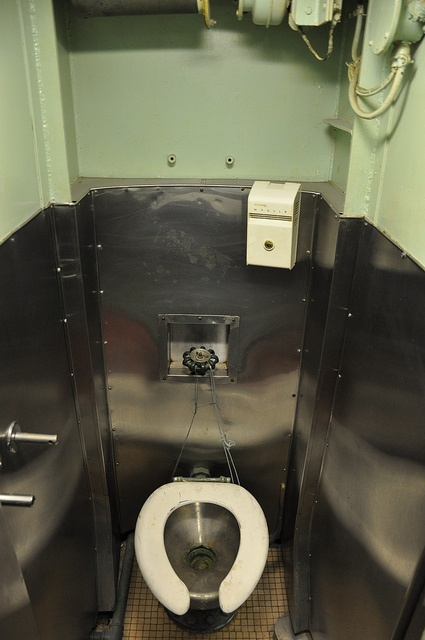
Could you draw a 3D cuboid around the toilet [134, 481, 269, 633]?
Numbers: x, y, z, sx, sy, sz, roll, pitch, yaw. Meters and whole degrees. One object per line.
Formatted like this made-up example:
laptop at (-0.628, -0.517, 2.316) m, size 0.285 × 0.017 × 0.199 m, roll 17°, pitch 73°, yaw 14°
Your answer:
toilet at (-0.017, 0.714, 1.576) m, size 0.402 × 0.388 × 0.486 m, roll -1°, pitch 50°, yaw 2°
